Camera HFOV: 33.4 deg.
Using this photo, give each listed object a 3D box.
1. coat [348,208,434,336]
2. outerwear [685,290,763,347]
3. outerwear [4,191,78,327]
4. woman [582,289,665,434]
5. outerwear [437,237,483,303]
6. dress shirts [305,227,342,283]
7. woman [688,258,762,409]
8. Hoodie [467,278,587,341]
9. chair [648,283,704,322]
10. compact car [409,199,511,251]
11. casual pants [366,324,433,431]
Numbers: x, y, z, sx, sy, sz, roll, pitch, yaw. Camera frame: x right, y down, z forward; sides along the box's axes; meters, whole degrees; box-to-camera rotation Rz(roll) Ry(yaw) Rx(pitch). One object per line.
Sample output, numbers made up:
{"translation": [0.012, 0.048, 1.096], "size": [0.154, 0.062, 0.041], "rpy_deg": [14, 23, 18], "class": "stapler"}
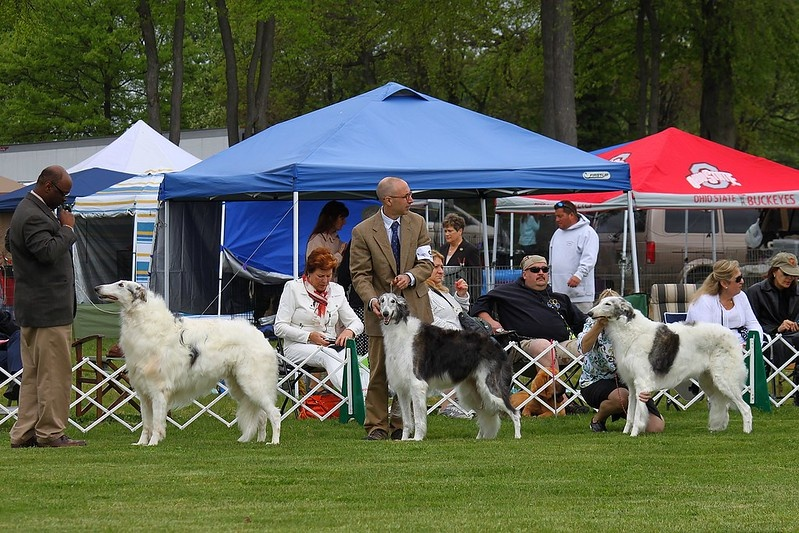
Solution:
{"translation": [-0.068, 0.152, 22.640], "size": [1.444, 2.057, 1.061], "rpy_deg": [-10, 15, -25], "class": "coat"}
{"translation": [5.868, 0.850, 24.391], "size": [1.563, 1.182, 0.898], "rpy_deg": [0, -2, -29], "class": "outerwear"}
{"translation": [-5.974, -0.119, 22.253], "size": [1.054, 2.242, 0.451], "rpy_deg": [0, 2, -17], "class": "outerwear"}
{"translation": [3.779, 1.704, 23.310], "size": [1.341, 2.436, 1.544], "rpy_deg": [-2, -2, -36], "class": "woman"}
{"translation": [1.220, 0.144, 26.819], "size": [0.504, 1.689, 0.937], "rpy_deg": [-20, 27, -38], "class": "outerwear"}
{"translation": [-1.432, -0.225, 25.294], "size": [1.054, 1.087, 0.611], "rpy_deg": [-7, 9, -43], "class": "dress shirts"}
{"translation": [5.870, 0.774, 24.391], "size": [1.342, 1.727, 1.186], "rpy_deg": [-4, 9, -29], "class": "woman"}
{"translation": [2.555, 0.791, 24.768], "size": [2.517, 1.188, 1.060], "rpy_deg": [5, -3, -17], "class": "Hoodie"}
{"translation": [5.543, 0.684, 27.002], "size": [0.774, 0.763, 0.771], "rpy_deg": [3, 3, 1], "class": "chair"}
{"translation": [1.465, -1.114, 36.715], "size": [2.197, 1.053, 1.461], "rpy_deg": [-2, 4, -22], "class": "compact car"}
{"translation": [-0.264, 1.886, 22.897], "size": [0.554, 1.591, 0.551], "rpy_deg": [-21, -23, 38], "class": "casual pants"}
